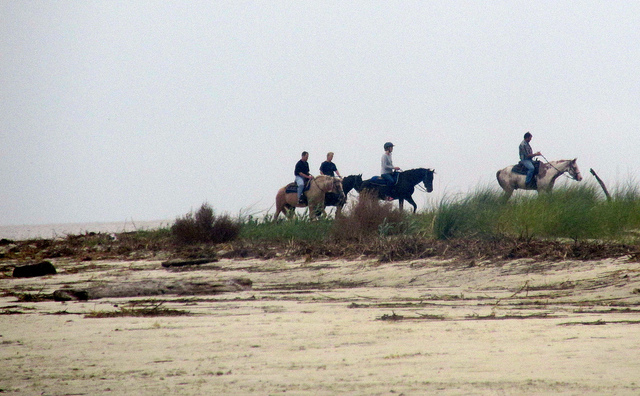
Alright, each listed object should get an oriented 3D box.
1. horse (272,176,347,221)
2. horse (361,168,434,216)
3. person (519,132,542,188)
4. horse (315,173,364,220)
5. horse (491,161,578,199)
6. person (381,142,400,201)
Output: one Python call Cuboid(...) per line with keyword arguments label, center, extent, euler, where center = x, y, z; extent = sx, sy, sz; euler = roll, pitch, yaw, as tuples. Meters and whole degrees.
Cuboid(label="horse", center=(-0.357, 0.165, 29.550), extent=(2.622, 1.570, 0.620), euler=(-2, -3, 41))
Cuboid(label="horse", center=(2.057, -0.136, 30.499), extent=(2.405, 1.412, 0.584), euler=(1, -2, 26))
Cuboid(label="person", center=(5.354, -1.013, 27.769), extent=(0.459, 1.333, 2.095), euler=(-2, -5, 10))
Cuboid(label="horse", center=(0.178, 0.012, 29.562), extent=(2.038, 1.250, 0.531), euler=(-3, 15, -19))
Cuboid(label="horse", center=(5.785, -0.324, 28.709), extent=(2.603, 1.442, 0.653), euler=(1, 8, 39))
Cuboid(label="person", center=(1.895, -0.740, 29.784), extent=(0.435, 1.558, 1.169), euler=(-1, -6, 3))
